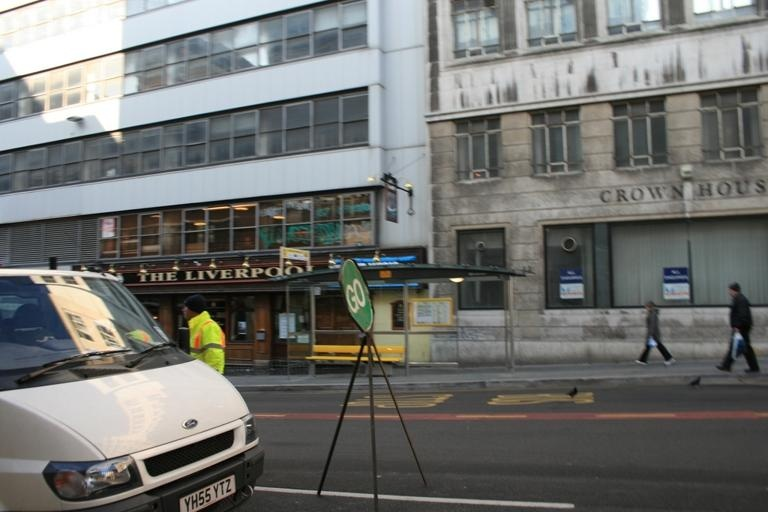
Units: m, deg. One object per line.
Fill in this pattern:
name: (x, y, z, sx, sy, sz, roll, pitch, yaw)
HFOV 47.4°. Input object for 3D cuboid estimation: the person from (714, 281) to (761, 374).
person: (9.495, 1.930, 23.708, 0.905, 2.391, 1.222, -7, -5, 44)

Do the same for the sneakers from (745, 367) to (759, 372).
sneakers: (9.762, 3.042, 23.423, 0.391, 0.125, 0.115, 3, -12, 17)

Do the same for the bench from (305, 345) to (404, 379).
bench: (-1.012, 3.289, 28.035, 3.361, 0.918, 1.529, -3, -3, 13)

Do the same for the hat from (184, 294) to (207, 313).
hat: (-3.723, 0.917, 17.651, 0.484, 0.297, 0.389, 10, 15, -4)
